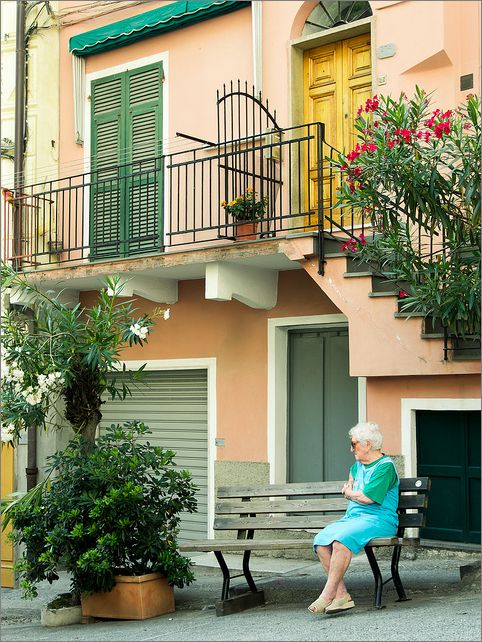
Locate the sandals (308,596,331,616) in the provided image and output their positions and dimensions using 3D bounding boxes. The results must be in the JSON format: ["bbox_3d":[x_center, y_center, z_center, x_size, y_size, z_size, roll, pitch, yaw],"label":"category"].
[{"bbox_3d":[0.455,1.676,5.152,0.064,0.055,0.139,12,9,39],"label":"sandals"}]

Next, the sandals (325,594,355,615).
[{"bbox_3d":[0.592,1.685,5.227,0.222,0.093,0.077,2,-19,-45],"label":"sandals"}]

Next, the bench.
[{"bbox_3d":[0.431,1.526,5.871,1.530,0.808,0.638,-8,-9,24],"label":"bench"}]

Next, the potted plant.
[{"bbox_3d":[-0.952,1.425,6.250,1.270,1.369,0.836,-2,-5,-5],"label":"potted plant"}]

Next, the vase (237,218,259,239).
[{"bbox_3d":[0.037,-0.831,8.149,0.181,0.139,0.186,-8,-16,32],"label":"vase"}]

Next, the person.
[{"bbox_3d":[0.685,1.206,5.392,0.739,1.132,0.339,0,-6,-26],"label":"person"}]

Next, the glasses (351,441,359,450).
[{"bbox_3d":[0.714,0.777,5.472,0.013,0.041,0.038,1,2,-28],"label":"glasses"}]
